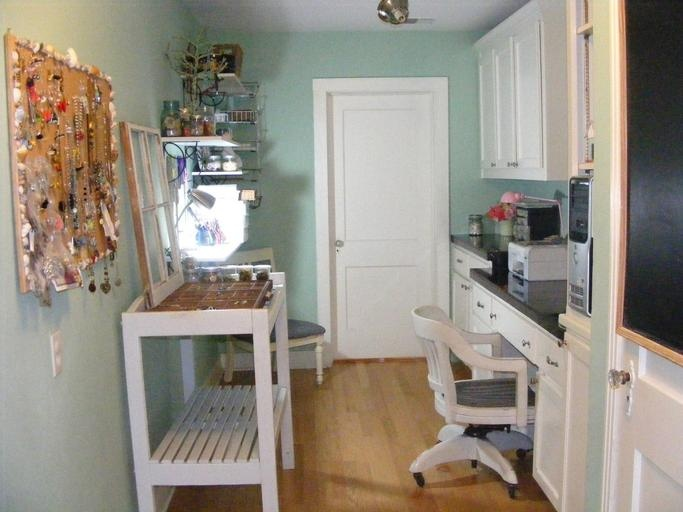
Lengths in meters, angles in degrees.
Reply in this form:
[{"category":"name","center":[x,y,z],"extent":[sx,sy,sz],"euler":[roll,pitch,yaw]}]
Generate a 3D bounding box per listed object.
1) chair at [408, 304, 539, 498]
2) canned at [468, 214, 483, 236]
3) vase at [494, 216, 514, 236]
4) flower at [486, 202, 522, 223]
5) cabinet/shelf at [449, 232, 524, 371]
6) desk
[{"category":"chair","center":[0.753,0.772,3.094],"extent":[0.702,0.898,0.732],"euler":[-1,3,-15]},{"category":"canned","center":[1.075,-0.247,4.539],"extent":[0.149,0.237,0.151],"euler":[-1,0,4]},{"category":"vase","center":[1.283,-0.230,4.442],"extent":[0.125,0.102,0.132],"euler":[-1,6,-5]},{"category":"flower","center":[1.248,-0.325,4.278],"extent":[0.246,0.157,0.181],"euler":[8,15,41]},{"category":"cabinet/shelf","center":[0.955,0.279,4.335],"extent":[0.565,1.299,0.755],"euler":[1,5,0]},{"category":"desk","center":[0.938,0.733,2.949],"extent":[0.372,0.688,1.114],"euler":[1,7,4]}]
